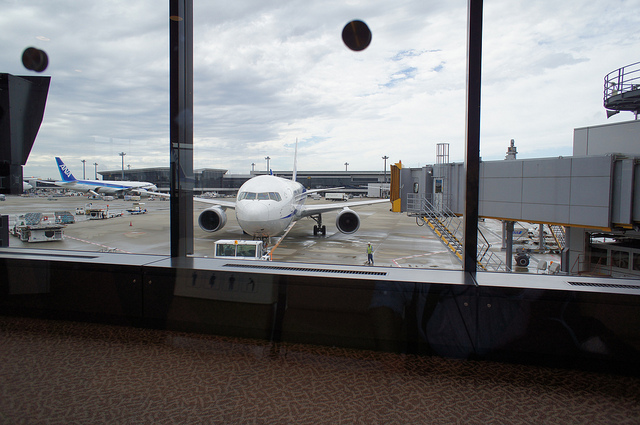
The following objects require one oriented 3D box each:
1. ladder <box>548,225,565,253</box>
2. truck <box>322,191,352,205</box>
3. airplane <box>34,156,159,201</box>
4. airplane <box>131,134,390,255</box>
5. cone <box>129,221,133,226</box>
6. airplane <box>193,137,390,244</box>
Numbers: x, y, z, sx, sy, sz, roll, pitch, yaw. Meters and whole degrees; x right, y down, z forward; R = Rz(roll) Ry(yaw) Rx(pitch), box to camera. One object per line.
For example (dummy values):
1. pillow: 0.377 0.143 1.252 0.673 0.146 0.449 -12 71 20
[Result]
1. ladder: 8.706 1.009 15.269 0.181 1.260 0.755 -14 -10 37
2. truck: 3.117 -2.121 74.329 5.354 2.251 2.917 5 8 26
3. airplane: -12.513 -1.607 23.153 4.955 1.466 4.681 6 6 15
4. airplane: -1.737 -0.163 17.070 5.766 3.193 12.950 0 3 10
5. cone: -11.245 0.689 24.574 0.236 0.229 0.227 0 -4 -14
6. airplane: -1.287 -0.155 18.062 4.979 2.903 7.469 2 3 33
